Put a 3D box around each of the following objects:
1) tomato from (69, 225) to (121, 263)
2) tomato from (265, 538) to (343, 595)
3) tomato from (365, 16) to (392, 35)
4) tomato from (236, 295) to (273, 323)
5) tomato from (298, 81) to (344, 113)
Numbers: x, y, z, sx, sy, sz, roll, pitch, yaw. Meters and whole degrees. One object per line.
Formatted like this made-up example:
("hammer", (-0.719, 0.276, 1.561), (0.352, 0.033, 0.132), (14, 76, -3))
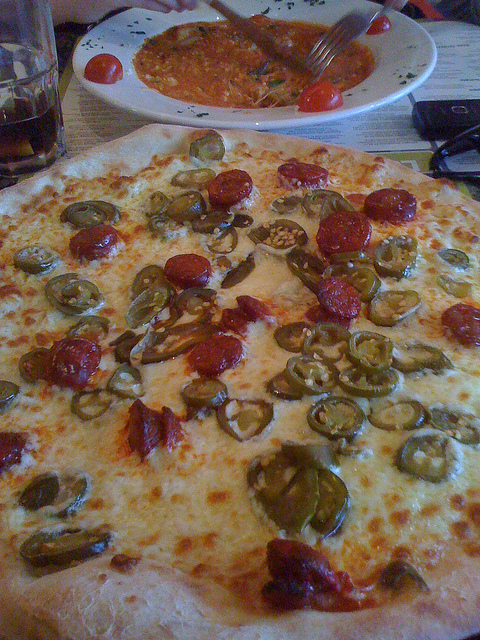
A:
("tomato", (-0.563, -0.300, 2.435), (0.172, 0.053, 0.127), (-32, 44, -15))
("tomato", (0.162, 0.628, 1.525), (0.206, 0.102, 0.091), (9, 40, 7))
("tomato", (0.938, -1.993, 4.087), (0.131, 0.043, 0.086), (0, 57, 21))
("tomato", (0.052, -0.051, 2.142), (0.086, 0.025, 0.111), (-26, 57, -39))
("tomato", (0.458, -1.241, 3.435), (0.245, 0.125, 0.227), (-3, 46, 11))
